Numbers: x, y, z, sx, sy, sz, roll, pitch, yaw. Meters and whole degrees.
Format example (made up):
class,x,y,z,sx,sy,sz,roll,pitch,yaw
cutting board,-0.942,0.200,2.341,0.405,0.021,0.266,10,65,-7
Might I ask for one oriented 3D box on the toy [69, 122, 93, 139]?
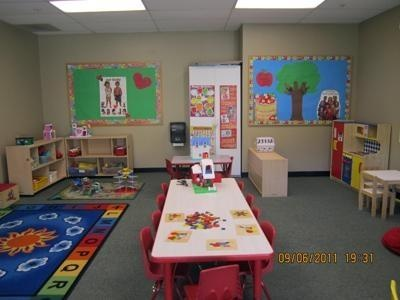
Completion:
class,x,y,z,sx,sy,sz,roll,pitch,yaw
toy,-3.076,-0.511,7.334,0.633,0.328,0.592,-1,14,-4

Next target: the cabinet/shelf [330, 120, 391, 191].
class,x,y,z,sx,sy,sz,roll,pitch,yaw
cabinet/shelf,3.367,0.101,5.980,0.531,1.452,1.478,0,5,-5

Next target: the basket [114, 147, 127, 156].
class,x,y,z,sx,sy,sz,roll,pitch,yaw
basket,-1.971,0.019,7.239,0.294,0.207,0.221,-2,14,-5

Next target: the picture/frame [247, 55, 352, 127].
class,x,y,z,sx,sy,sz,roll,pitch,yaw
picture/frame,2.381,-1.517,6.960,1.777,1.205,0.040,0,7,-1

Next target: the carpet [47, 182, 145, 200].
class,x,y,z,sx,sy,sz,roll,pitch,yaw
carpet,-2.198,0.848,6.219,1.761,0.153,0.876,0,14,0

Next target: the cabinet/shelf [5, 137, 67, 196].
class,x,y,z,sx,sy,sz,roll,pitch,yaw
cabinet/shelf,-3.634,0.346,6.313,0.354,0.695,1.186,0,10,0

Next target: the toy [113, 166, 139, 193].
class,x,y,z,sx,sy,sz,roll,pitch,yaw
toy,-1.778,0.624,6.860,0.555,0.560,0.606,11,-8,29

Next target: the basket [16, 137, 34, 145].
class,x,y,z,sx,sy,sz,roll,pitch,yaw
basket,-3.727,-0.202,6.149,0.224,0.107,0.163,-1,1,-10
